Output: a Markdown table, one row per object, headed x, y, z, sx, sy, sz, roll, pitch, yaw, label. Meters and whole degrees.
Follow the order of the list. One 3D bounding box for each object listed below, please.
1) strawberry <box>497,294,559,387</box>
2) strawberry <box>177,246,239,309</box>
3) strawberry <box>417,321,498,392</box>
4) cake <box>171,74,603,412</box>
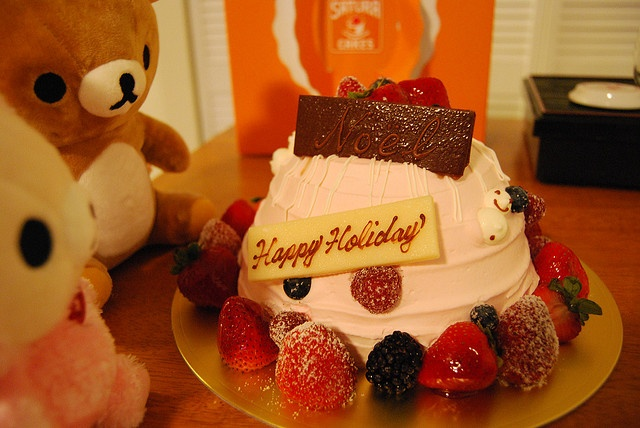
| x | y | z | sx | sy | sz | roll | pitch | yaw | label |
| --- | --- | --- | --- | --- | --- | --- | --- | --- | --- |
| 0.457 | 0.296 | 1.230 | 0.132 | 0.124 | 0.183 | -7 | 58 | 24 | strawberry |
| -0.322 | 0.189 | 1.532 | 0.164 | 0.103 | 0.138 | 35 | 58 | 18 | strawberry |
| 0.302 | 0.320 | 1.197 | 0.162 | 0.105 | 0.129 | -26 | 37 | 16 | strawberry |
| 0.135 | 0.121 | 1.313 | 0.796 | 0.441 | 0.870 | 9 | 22 | 32 | cake |
